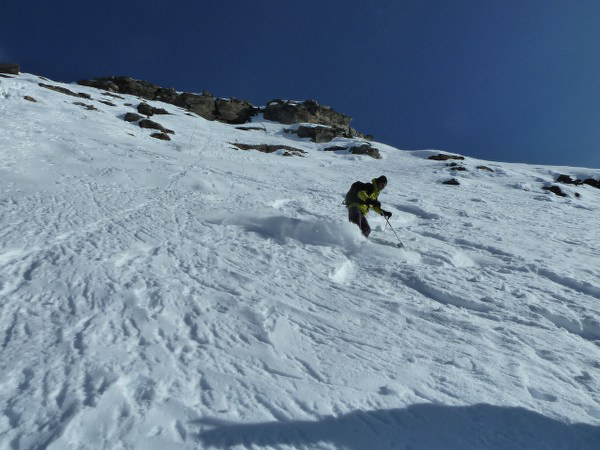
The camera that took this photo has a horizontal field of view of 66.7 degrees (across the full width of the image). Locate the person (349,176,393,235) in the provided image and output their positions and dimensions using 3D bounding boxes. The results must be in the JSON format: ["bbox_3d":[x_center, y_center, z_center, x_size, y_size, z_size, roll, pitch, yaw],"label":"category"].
[{"bbox_3d":[1.804,-0.521,11.659,1.019,1.519,0.958,18,16,-6],"label":"person"}]
